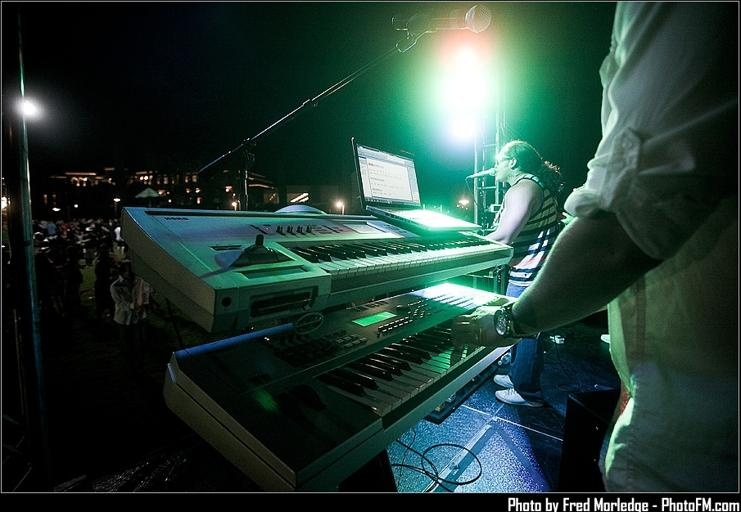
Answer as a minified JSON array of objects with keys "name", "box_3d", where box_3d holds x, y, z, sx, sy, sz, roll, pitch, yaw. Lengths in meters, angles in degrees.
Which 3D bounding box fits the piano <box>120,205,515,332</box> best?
[{"name":"piano","box_3d":[-0.044,-0.022,2.636,2.118,0.384,0.923,-7,14,-44]}]

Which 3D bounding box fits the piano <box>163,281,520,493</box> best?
[{"name":"piano","box_3d":[0.150,0.557,2.715,1.037,0.374,2.316,9,12,34]}]

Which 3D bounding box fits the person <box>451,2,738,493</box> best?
[{"name":"person","box_3d":[1.045,0.005,1.776,0.696,1.867,0.323,6,15,27]}]
